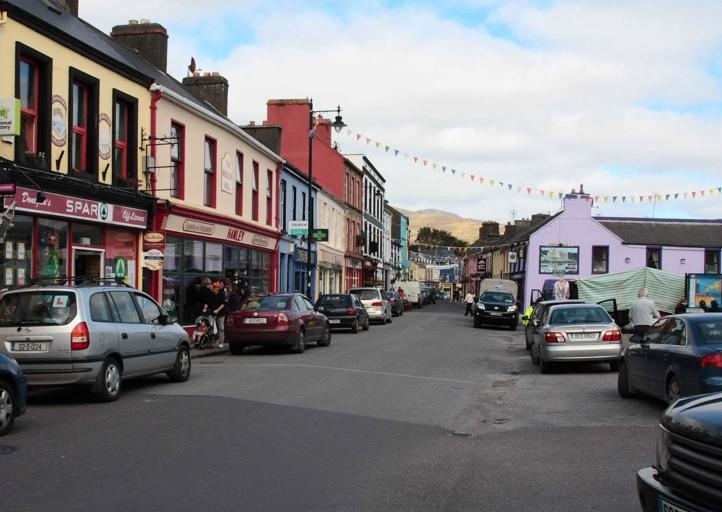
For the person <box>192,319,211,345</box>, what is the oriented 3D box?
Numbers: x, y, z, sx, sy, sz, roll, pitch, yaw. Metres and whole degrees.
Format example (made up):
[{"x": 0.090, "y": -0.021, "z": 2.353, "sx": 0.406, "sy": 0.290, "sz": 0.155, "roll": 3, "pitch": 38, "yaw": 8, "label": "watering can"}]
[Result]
[{"x": -4.744, "y": 2.282, "z": 21.584, "sx": 0.566, "sy": 0.834, "sz": 0.721, "roll": 3, "pitch": 4, "yaw": 0, "label": "person"}]

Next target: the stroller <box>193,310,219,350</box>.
[{"x": -4.792, "y": 2.251, "z": 21.689, "sx": 0.713, "sy": 0.987, "sz": 0.811, "roll": -2, "pitch": 5, "yaw": 6, "label": "stroller"}]

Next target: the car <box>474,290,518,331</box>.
[{"x": 6.942, "y": 2.719, "z": 36.670, "sx": 2.116, "sy": 2.247, "sz": 4.238, "roll": 4, "pitch": -5, "yaw": 13, "label": "car"}]

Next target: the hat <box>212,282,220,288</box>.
[{"x": -4.384, "y": 0.876, "z": 21.859, "sx": 0.204, "sy": 0.193, "sz": 0.374, "roll": 1, "pitch": 0, "yaw": -21, "label": "hat"}]
